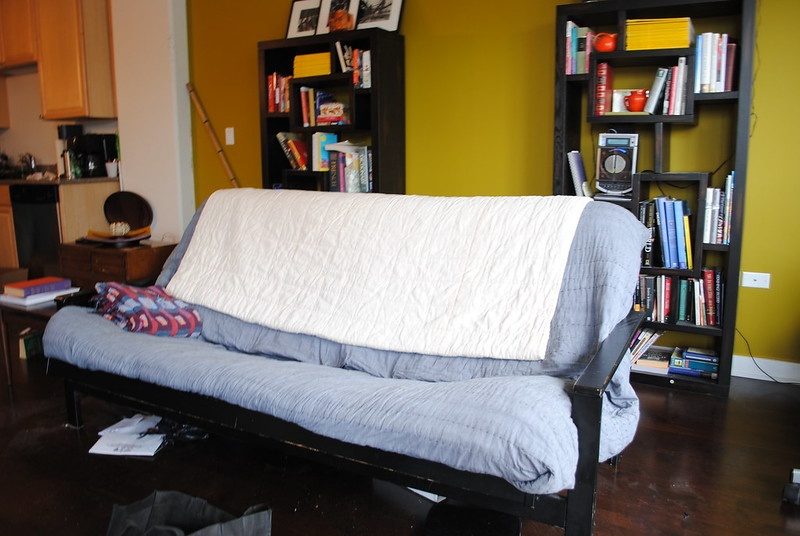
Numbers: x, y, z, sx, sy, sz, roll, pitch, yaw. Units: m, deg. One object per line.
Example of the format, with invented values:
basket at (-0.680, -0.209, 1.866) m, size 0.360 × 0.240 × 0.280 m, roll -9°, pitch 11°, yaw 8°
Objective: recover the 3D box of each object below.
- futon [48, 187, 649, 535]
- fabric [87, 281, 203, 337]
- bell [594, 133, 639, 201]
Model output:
futon at (-0.155, 0.377, 3.054) m, size 2.435 × 1.079 × 0.981 m, roll 5°, pitch 17°, yaw 21°
fabric at (-1.391, 0.231, 3.541) m, size 0.584 × 0.171 × 0.609 m, roll 19°, pitch 12°, yaw -28°
bell at (1.359, -0.637, 4.020) m, size 0.249 × 0.395 × 0.216 m, roll 4°, pitch -3°, yaw 20°
